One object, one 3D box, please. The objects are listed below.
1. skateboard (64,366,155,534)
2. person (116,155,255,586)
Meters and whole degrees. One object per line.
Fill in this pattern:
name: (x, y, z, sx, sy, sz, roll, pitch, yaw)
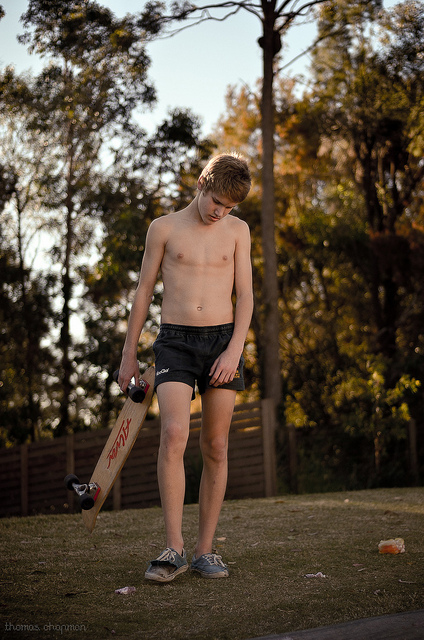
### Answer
skateboard: (-0.867, 1.134, 9.665, 0.239, 1.880, 0.416, 22, 10, -28)
person: (-0.135, 0.231, 6.293, 0.730, 2.325, 0.583, -1, -5, -1)
